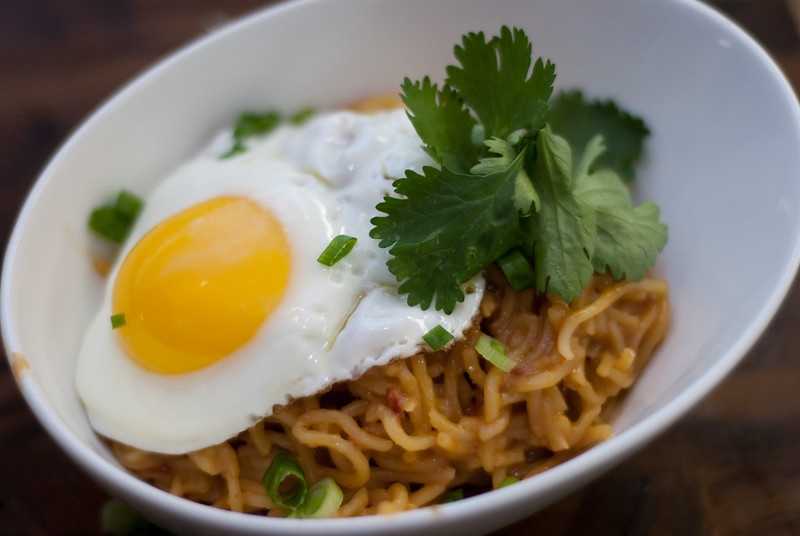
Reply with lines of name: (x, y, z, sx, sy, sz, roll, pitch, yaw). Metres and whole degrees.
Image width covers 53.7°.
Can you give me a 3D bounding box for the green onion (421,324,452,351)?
green onion: (0.162, 0.300, 3.406, 0.118, 0.049, 0.097, -41, 83, -5)
